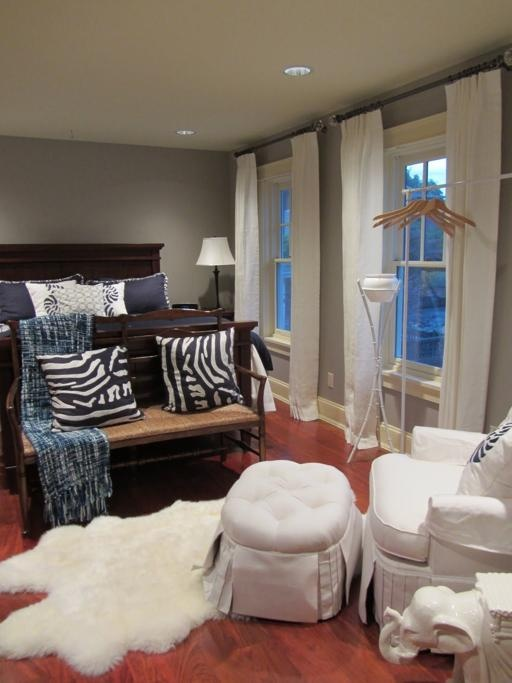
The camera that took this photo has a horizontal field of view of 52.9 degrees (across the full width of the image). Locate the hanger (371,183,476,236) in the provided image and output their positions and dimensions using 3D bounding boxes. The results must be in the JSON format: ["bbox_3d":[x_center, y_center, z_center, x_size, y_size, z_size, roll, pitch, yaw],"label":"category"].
[{"bbox_3d":[0.896,-0.610,2.551,0.355,0.132,0.357,-2,12,-41],"label":"hanger"}]

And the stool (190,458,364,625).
[{"bbox_3d":[0.136,0.663,1.847,0.388,0.245,0.508,3,26,12],"label":"stool"}]

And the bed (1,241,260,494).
[{"bbox_3d":[-0.826,0.100,3.387,1.472,1.300,1.963,-5,13,-21],"label":"bed"}]
